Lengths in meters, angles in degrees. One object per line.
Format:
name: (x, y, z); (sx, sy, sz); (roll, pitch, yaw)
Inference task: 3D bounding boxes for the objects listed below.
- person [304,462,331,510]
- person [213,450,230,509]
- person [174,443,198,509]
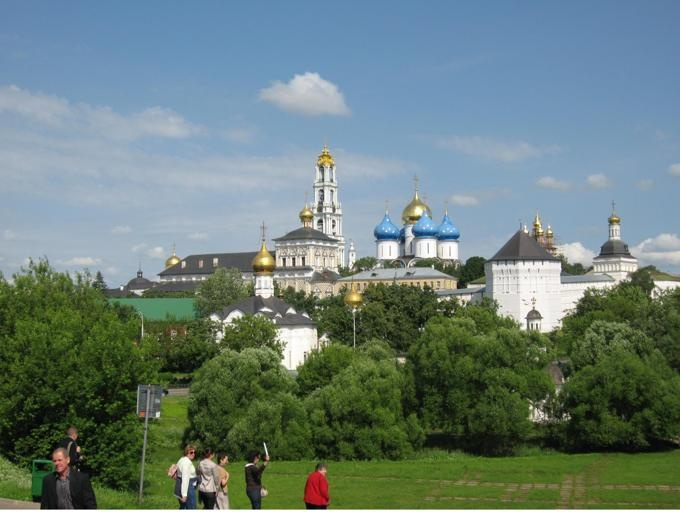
person: (-0.990, 9.953, 59.410); (0.978, 2.070, 0.947); (2, -1, 0)
person: (-5.072, 9.738, 59.584); (0.549, 2.414, 1.031); (2, -1, -5)
person: (-6.712, 9.702, 60.039); (1.007, 2.829, 1.381); (2, -1, -7)
